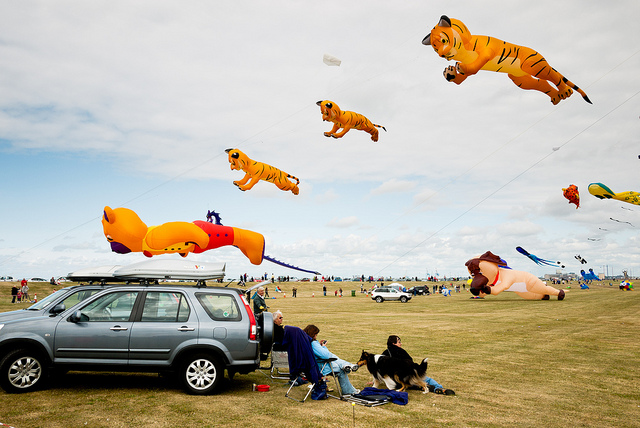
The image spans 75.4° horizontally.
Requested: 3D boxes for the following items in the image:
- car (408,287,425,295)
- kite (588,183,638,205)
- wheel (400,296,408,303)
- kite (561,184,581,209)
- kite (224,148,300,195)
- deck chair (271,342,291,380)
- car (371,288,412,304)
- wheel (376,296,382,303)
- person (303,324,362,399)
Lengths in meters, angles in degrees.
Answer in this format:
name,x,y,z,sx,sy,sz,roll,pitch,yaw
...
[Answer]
name,x,y,z,sx,sy,sz,roll,pitch,yaw
car,14.417,11.429,62.106,2.170,1.092,1.288,9,-4,0
kite,14.822,-0.995,21.095,2.267,0.530,0.579,17,-38,20
wheel,9.029,9.252,44.899,0.636,0.611,0.202,-3,-10,34
kite,14.591,-1.093,24.200,0.712,1.332,0.374,-10,-13,-23
kite,-2.857,-2.034,21.988,4.169,2.015,1.436,7,4,-27
deck chair,-1.055,4.093,11.320,0.647,0.964,0.704,11,-40,-22
car,7.686,9.093,45.933,3.842,1.339,1.672,-2,-5,9
wheel,6.433,9.430,45.691,0.626,0.456,0.874,5,13,6
person,0.232,3.826,10.747,1.606,1.770,0.894,6,-14,-27
